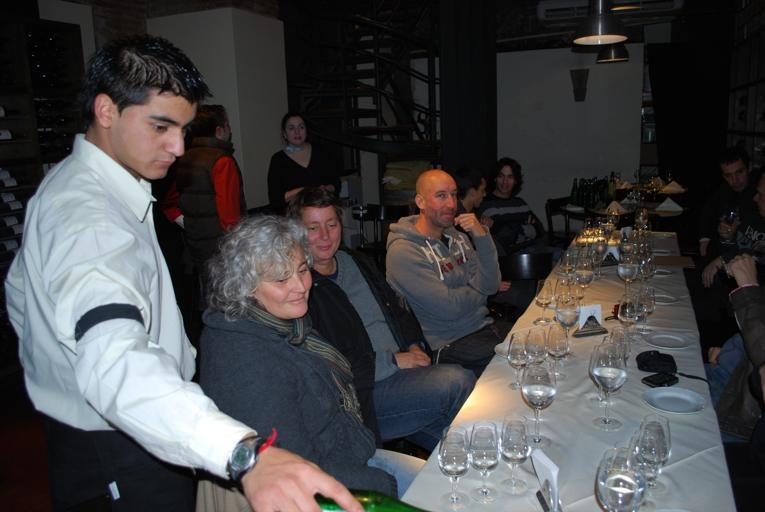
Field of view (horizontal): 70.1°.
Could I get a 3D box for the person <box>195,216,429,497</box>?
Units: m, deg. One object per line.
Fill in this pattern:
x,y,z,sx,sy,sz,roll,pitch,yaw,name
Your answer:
-0.076,0.230,2.515,1.053,1.351,0.905,-5,15,1,person

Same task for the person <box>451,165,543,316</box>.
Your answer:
1.158,-0.207,4.996,0.604,1.324,0.755,-2,4,-10,person

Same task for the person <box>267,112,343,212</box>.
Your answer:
-0.750,-0.853,5.142,0.765,0.961,0.600,-17,18,-38,person

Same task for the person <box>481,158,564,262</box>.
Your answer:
1.274,-0.406,5.122,0.685,0.954,0.751,-12,22,-22,person

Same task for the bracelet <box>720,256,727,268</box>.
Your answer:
2.426,0.036,3.905,0.029,0.108,0.101,4,38,41,bracelet
